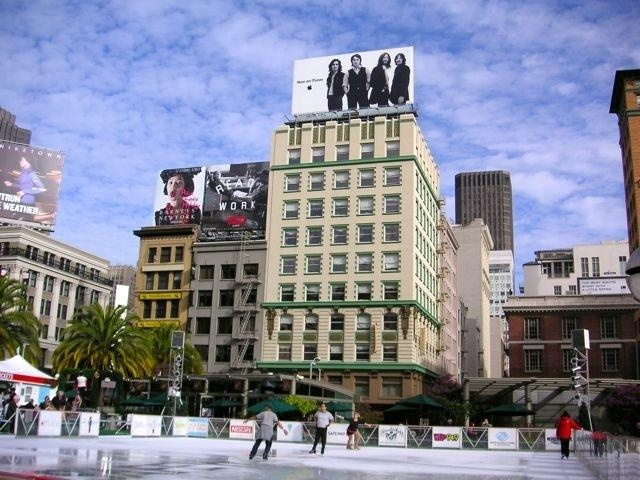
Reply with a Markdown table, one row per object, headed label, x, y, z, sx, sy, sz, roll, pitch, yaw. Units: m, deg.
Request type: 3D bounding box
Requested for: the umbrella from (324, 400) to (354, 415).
| label | x | y | z | sx | sy | sz | roll | pitch | yaw |
| --- | --- | --- | --- | --- | --- | --- | --- | --- | --- |
| umbrella | 1.814 | 15.089 | 64.983 | 2.871 | 1.089 | 3.750 | -2 | -33 | 2 |
